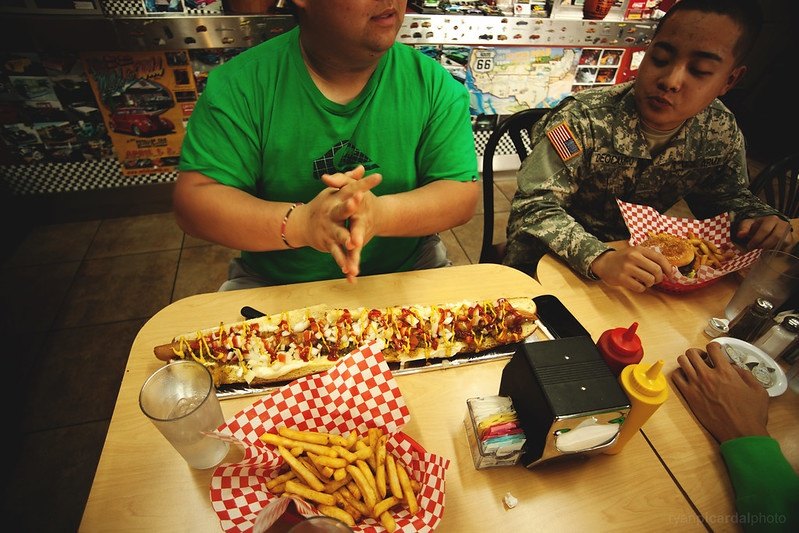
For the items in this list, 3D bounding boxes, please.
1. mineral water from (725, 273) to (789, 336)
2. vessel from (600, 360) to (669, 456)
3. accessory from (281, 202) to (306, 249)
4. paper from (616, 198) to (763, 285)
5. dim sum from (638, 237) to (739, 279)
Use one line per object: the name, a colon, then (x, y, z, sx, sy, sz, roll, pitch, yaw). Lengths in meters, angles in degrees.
mineral water: (2.042, 0.230, 2.946, 0.211, 0.351, 0.208, 15, 38, 3)
vessel: (1.149, 0.699, 2.524, 0.219, 0.539, 0.315, 18, 43, 21)
accessory: (-0.623, -0.234, 3.003, 0.077, 0.234, 0.171, 15, 42, 18)
paper: (1.799, -0.183, 3.344, 0.638, 0.269, 0.682, -11, 49, -16)
dim sum: (1.793, -0.094, 3.236, 0.370, 0.122, 0.368, -2, 36, -16)
